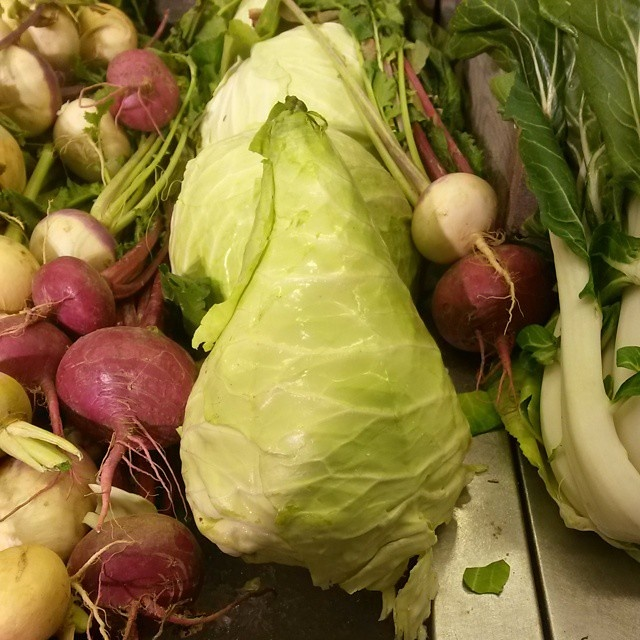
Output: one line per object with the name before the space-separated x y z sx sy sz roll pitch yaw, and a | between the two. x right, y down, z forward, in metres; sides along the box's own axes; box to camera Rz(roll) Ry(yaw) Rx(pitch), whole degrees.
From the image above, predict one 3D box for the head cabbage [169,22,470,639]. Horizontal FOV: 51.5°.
head cabbage | -0.085 -0.020 1.116 0.446 0.346 0.926 -8 75 -33
